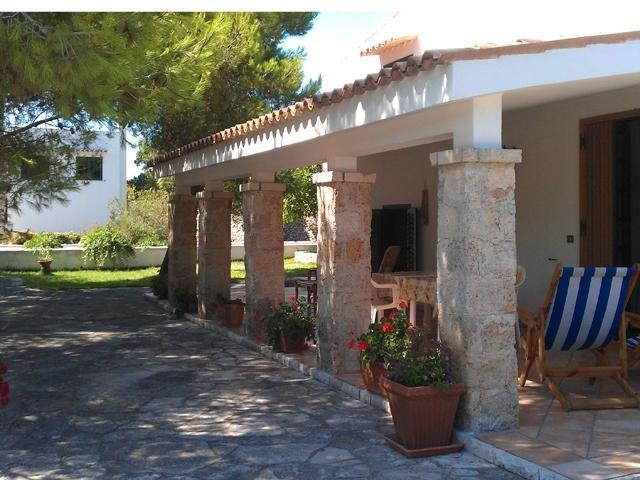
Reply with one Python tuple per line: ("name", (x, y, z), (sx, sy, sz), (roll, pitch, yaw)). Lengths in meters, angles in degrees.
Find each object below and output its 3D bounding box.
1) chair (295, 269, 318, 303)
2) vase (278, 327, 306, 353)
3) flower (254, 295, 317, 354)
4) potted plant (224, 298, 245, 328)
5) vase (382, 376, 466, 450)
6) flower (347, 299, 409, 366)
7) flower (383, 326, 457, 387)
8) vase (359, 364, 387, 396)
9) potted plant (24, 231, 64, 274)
("chair", (-0.263, 0.843, 10.029), (0.452, 0.734, 0.733), (0, 1, -2))
("vase", (-0.391, 1.411, 8.297), (0.357, 0.282, 0.283), (5, -7, -42))
("flower", (-0.477, 1.236, 8.525), (0.747, 0.589, 0.718), (1, -3, -16))
("potted plant", (-1.488, 1.312, 10.252), (0.363, 0.408, 0.446), (0, 5, 28))
("vase", (0.941, 1.569, 5.345), (0.621, 0.582, 0.536), (1, -3, -26))
("flower", (0.748, 1.099, 6.277), (0.789, 0.521, 0.715), (-17, -4, 20))
("flower", (0.926, 1.085, 5.410), (0.498, 0.470, 0.483), (-4, -8, 42))
("vase", (0.578, 1.504, 6.315), (0.298, 0.327, 0.411), (1, -2, -15))
("potted plant", (-10.059, 0.465, 21.294), (1.034, 1.386, 1.619), (-5, 5, -36))
